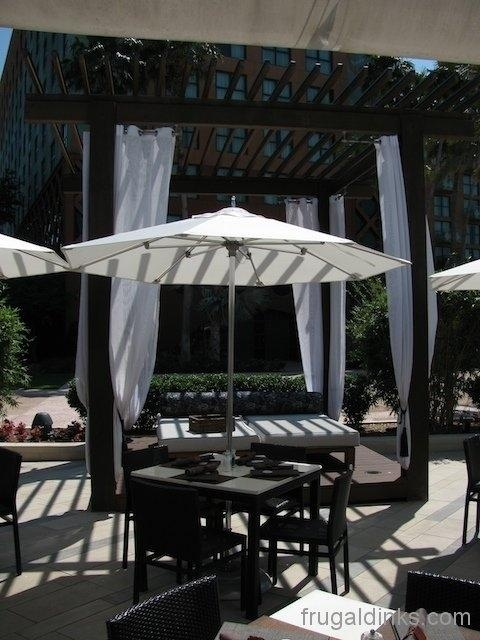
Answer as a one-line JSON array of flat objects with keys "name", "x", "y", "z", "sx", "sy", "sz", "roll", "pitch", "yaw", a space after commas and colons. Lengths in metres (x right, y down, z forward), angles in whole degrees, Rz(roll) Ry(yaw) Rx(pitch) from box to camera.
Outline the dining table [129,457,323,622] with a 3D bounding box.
[{"name": "dining table", "x": -0.021, "y": 1.404, "z": 3.995, "sx": 1.244, "sy": 0.756, "sz": 1.298, "roll": 1, "pitch": -2, "yaw": -15}]

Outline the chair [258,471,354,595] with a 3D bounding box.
[{"name": "chair", "x": 0.417, "y": 1.464, "z": 3.826, "sx": 0.481, "sy": 0.777, "sz": 0.450, "roll": 2, "pitch": -1, "yaw": 12}]

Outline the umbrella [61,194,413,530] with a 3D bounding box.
[{"name": "umbrella", "x": -0.090, "y": 0.095, "z": 4.671, "sx": 2.451, "sy": 1.930, "sz": 2.431, "roll": 0, "pitch": -6, "yaw": 0}]
